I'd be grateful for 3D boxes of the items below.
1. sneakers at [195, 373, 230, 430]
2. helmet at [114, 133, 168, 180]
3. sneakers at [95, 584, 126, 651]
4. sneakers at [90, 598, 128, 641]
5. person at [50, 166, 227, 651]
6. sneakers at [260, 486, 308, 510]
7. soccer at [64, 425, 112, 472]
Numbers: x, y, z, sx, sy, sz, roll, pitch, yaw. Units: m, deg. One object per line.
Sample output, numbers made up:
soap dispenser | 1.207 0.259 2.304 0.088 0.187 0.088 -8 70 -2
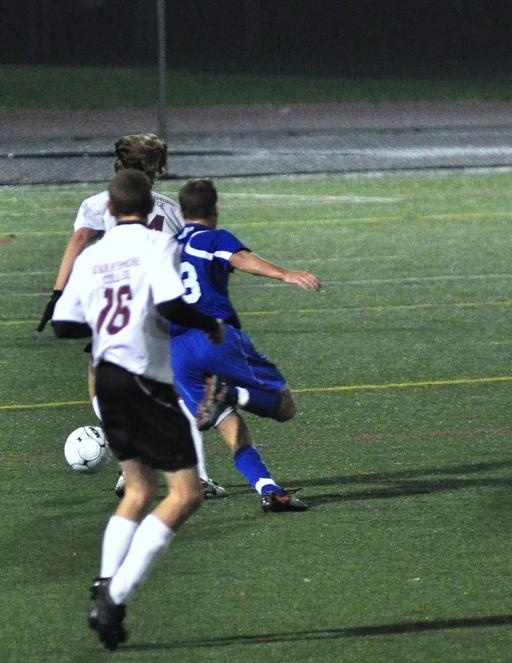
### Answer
sneakers | -0.210 0.326 5.371 0.113 0.233 0.160 36 -28 -21
helmet | -0.565 -0.882 5.961 0.347 0.226 0.240 -10 19 -24
sneakers | -0.554 1.072 4.356 0.101 0.199 0.185 -10 -14 -21
sneakers | -0.563 1.085 4.414 0.138 0.212 0.171 -2 17 -7
person | -0.448 0.280 4.530 0.624 1.736 0.900 -2 19 -9
sneakers | 0.128 0.786 5.478 0.181 0.065 0.193 0 10 5
soccer | -0.825 0.595 5.993 0.300 0.203 0.240 5 3 1
